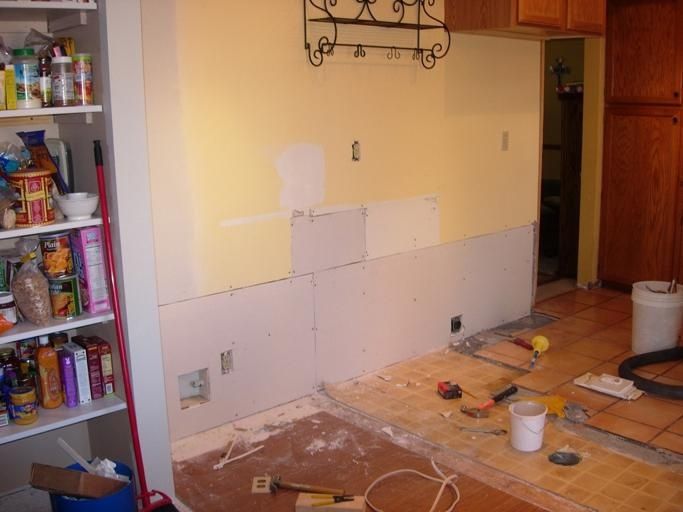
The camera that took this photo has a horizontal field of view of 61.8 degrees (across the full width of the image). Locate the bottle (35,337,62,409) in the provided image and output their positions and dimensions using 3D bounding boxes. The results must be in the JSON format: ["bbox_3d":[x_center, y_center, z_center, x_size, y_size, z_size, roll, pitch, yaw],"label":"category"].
[{"bbox_3d":[-1.263,0.500,2.459,0.092,0.313,0.082,5,16,21],"label":"bottle"}]

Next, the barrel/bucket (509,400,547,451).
[{"bbox_3d":[0.974,0.889,3.008,0.184,0.207,0.207,4,16,17],"label":"barrel/bucket"}]

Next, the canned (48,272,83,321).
[{"bbox_3d":[-1.178,0.178,2.438,0.161,0.176,0.159,-6,1,-38],"label":"canned"}]

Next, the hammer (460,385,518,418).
[{"bbox_3d":[0.900,0.854,3.397,0.458,0.060,0.144,-12,19,-36],"label":"hammer"}]

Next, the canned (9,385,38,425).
[{"bbox_3d":[-1.292,0.605,2.370,0.136,0.151,0.135,-1,5,-24],"label":"canned"}]

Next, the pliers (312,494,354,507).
[{"bbox_3d":[-0.045,1.107,2.569,0.211,0.028,0.061,0,24,-8],"label":"pliers"}]

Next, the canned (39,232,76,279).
[{"bbox_3d":[-1.219,0.000,2.438,0.107,0.181,0.068,-7,16,-22],"label":"canned"}]

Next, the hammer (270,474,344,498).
[{"bbox_3d":[-0.167,1.082,2.681,0.379,0.052,0.129,3,16,12],"label":"hammer"}]

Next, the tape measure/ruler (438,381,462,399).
[{"bbox_3d":[0.660,0.807,3.476,0.083,0.051,0.113,-5,15,-12],"label":"tape measure/ruler"}]

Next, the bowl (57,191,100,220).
[{"bbox_3d":[-1.134,-0.221,2.455,0.144,0.083,0.130,3,13,22],"label":"bowl"}]
